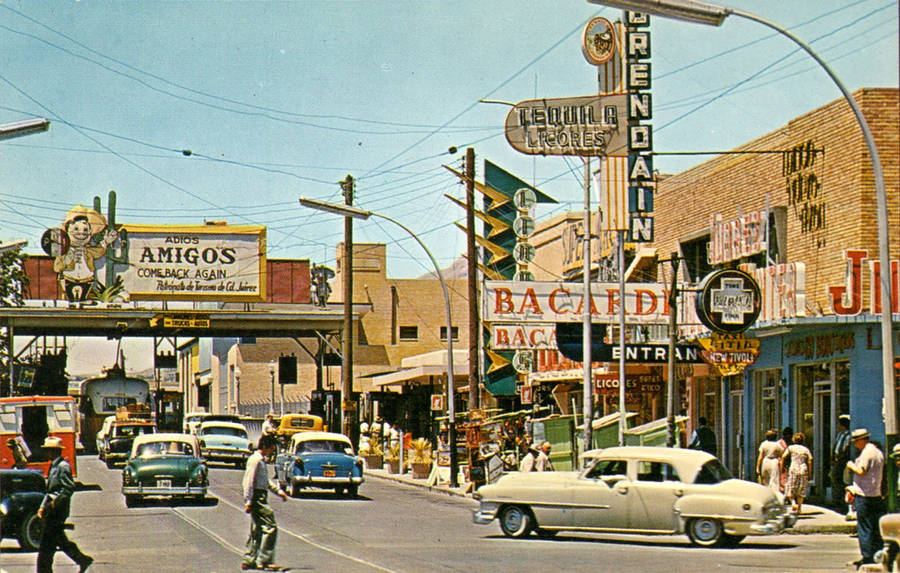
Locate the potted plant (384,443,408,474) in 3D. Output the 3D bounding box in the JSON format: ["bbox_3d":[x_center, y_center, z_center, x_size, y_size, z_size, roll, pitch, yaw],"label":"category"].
[{"bbox_3d":[-2.416,7.695,83.657,1.381,1.458,1.362,1,-8,-10],"label":"potted plant"}]

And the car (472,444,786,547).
[{"bbox_3d":[5.852,6.637,57.881,9.567,2.851,3.387,-2,-4,24],"label":"car"}]
